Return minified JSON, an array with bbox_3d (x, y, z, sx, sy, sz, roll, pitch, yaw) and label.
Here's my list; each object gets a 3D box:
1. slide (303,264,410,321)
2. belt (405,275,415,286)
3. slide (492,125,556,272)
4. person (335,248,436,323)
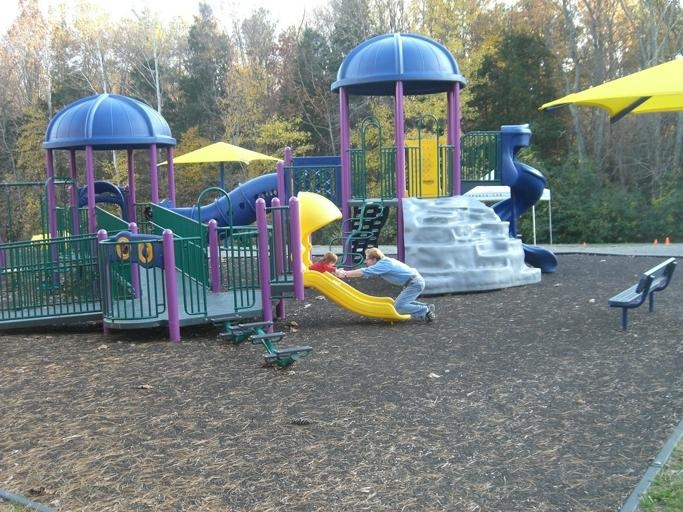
[{"bbox_3d":[0.686,0.687,14.864,2.754,1.064,0.711,2,4,9],"label":"slide"},{"bbox_3d":[1.209,0.425,14.278,0.178,0.160,0.066,-3,3,3],"label":"belt"},{"bbox_3d":[4.445,-1.478,20.390,1.288,3.639,1.652,-3,3,10],"label":"slide"},{"bbox_3d":[0.809,0.498,14.482,1.804,1.248,0.607,2,-2,-8],"label":"person"}]
